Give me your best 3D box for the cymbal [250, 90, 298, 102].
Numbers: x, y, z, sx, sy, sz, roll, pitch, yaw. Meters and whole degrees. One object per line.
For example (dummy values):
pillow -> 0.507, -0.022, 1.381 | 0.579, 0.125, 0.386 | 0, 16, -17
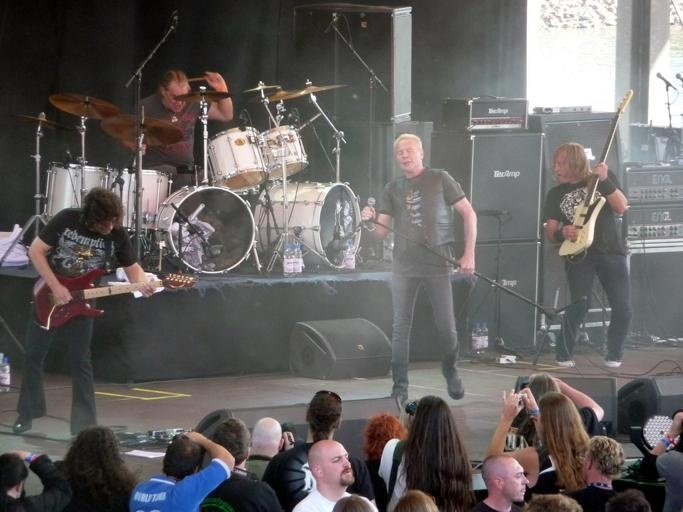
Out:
cymbal -> -0.752, -1.762, 8.357 | 0.297, 0.068, 0.300 | -11, -8, 14

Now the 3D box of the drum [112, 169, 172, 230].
drum -> -1.902, -0.588, 7.326 | 0.679, 0.659, 0.650 | -4, 7, -30

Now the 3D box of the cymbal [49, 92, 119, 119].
cymbal -> -2.327, -1.375, 6.893 | 0.583, 0.209, 0.339 | 0, 0, -17

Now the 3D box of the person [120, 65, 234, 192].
person -> -1.774, -1.274, 8.045 | 1.241, 1.448, 0.816 | -18, 43, -38

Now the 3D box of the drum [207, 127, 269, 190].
drum -> -1.058, -0.997, 7.750 | 0.602, 0.601, 0.420 | 0, 0, -7

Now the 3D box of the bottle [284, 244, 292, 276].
bottle -> -0.507, 0.039, 7.366 | 0.084, 0.278, 0.145 | 0, 0, -4

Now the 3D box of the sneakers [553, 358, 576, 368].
sneakers -> 2.177, 1.034, 7.287 | 0.133, 0.064, 0.070 | -1, 0, 9

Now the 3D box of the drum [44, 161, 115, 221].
drum -> -2.523, -0.662, 7.443 | 0.663, 0.597, 0.655 | 2, 3, -8

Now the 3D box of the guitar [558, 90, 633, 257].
guitar -> 2.477, -0.780, 7.330 | 0.637, 1.594, 0.864 | 0, 0, 20

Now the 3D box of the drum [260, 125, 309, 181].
drum -> -0.667, -1.140, 7.988 | 0.533, 0.482, 0.506 | -14, -9, -17

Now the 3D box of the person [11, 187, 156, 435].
person -> -1.693, 0.413, 5.055 | 0.875, 1.823, 0.489 | 12, 15, 0

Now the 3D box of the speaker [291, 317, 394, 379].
speaker -> -0.020, 0.828, 6.860 | 0.694, 0.430, 0.581 | 0, 3, -40

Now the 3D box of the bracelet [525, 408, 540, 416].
bracelet -> 0.946, 0.770, 3.725 | 0.062, 0.049, 0.049 | -6, 0, 29

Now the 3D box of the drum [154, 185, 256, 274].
drum -> -1.337, -0.245, 7.278 | 0.759, 0.752, 0.479 | -13, 6, -30

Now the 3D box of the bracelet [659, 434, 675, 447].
bracelet -> 1.566, 0.886, 3.630 | 0.048, 0.037, 0.062 | 25, -9, 1

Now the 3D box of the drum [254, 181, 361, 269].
drum -> -0.275, -0.345, 7.915 | 0.923, 1.108, 1.131 | 0, -3, 40

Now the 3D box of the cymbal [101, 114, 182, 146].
cymbal -> -1.783, -1.128, 6.809 | 0.418, 0.100, 0.406 | 5, -26, -22

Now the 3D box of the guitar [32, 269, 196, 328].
guitar -> -1.701, 0.288, 5.049 | 0.653, 0.402, 0.284 | 0, 0, -23
